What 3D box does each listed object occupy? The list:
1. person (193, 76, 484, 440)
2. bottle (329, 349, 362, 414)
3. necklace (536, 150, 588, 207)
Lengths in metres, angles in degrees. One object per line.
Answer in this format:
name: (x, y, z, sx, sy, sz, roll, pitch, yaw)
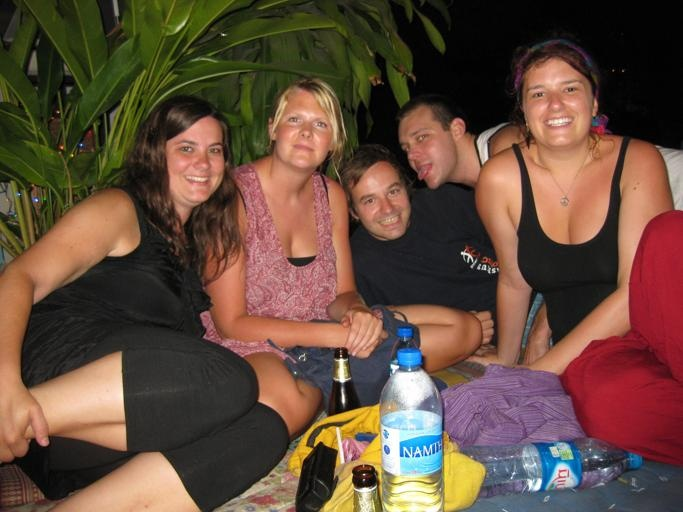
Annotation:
person: (-0.063, -0.057, 2.324, 1.309, 1.326, 0.991, -10, 15, -41)
bottle: (-0.006, 0.423, 1.900, 0.100, 0.250, 0.111, 0, 11, 22)
necklace: (0.898, -0.310, 2.275, 0.239, 0.216, 0.020, -2, 2, 2)
